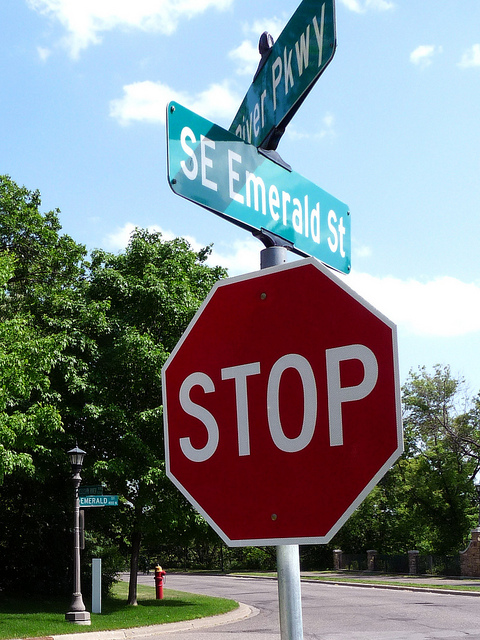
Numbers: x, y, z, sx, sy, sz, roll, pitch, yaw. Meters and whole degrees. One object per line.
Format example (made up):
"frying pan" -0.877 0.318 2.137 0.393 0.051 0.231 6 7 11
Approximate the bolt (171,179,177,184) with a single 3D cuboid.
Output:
"bolt" -0.656 -1.374 10.692 0.055 0.053 0.002 12 -12 -18

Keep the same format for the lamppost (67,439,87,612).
"lamppost" -3.641 4.597 23.514 0.315 3.863 0.424 -6 -3 33

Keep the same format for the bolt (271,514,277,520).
"bolt" 0.334 1.911 10.291 0.045 0.056 0.011 -13 -5 9

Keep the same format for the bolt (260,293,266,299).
"bolt" 0.231 -0.222 10.437 0.036 0.061 0.013 -1 0 5
